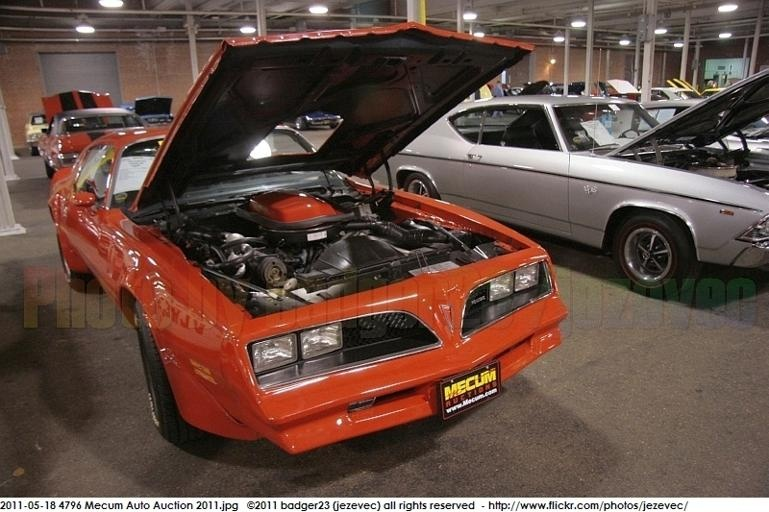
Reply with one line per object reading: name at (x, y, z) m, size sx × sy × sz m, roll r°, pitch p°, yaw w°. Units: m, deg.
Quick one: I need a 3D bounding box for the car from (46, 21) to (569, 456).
car at (-0.585, -0.178, 3.404) m, size 3.009 × 2.623 × 2.445 m, roll 14°, pitch 26°, yaw 40°
